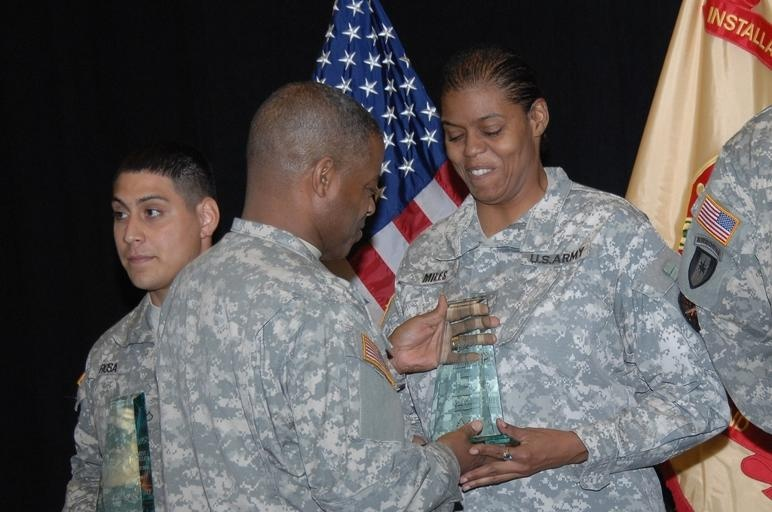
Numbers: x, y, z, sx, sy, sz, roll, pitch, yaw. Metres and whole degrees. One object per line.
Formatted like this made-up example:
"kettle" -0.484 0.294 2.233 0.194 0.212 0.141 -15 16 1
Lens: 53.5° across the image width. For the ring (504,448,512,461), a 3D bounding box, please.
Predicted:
"ring" 0.425 0.693 2.670 0.028 0.041 0.023 -3 -14 2
